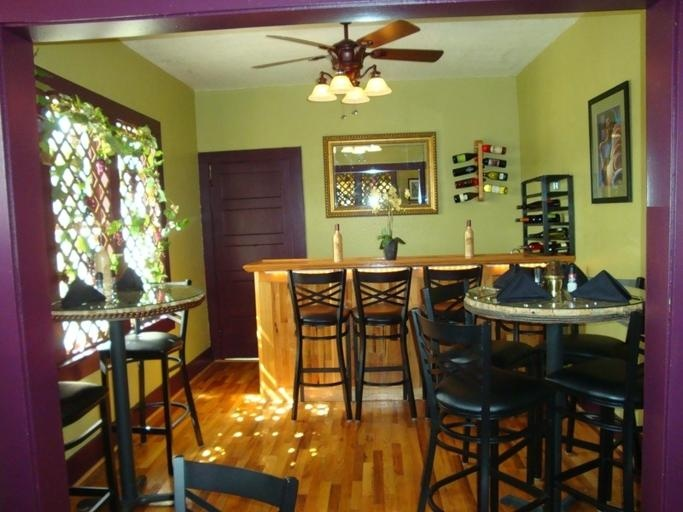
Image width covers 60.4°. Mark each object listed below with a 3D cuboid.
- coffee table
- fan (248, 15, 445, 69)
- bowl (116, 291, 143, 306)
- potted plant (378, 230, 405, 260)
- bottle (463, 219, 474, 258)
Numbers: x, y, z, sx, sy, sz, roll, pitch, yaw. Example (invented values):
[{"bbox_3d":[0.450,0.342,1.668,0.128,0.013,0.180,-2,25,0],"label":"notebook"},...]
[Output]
[{"bbox_3d":[-1.220,0.708,3.710,1.072,1.244,1.028,6,11,30],"label":"coffee table"},{"bbox_3d":[0.172,-1.278,3.624,0.609,0.181,0.667,2,6,14],"label":"fan"},{"bbox_3d":[-1.187,0.231,3.291,0.115,0.069,0.117,2,-4,0],"label":"bowl"},{"bbox_3d":[0.385,-0.089,4.705,0.254,0.179,0.259,2,4,5],"label":"potted plant"},{"bbox_3d":[1.053,-0.161,4.810,0.056,0.287,0.376,0,11,14],"label":"bottle"}]
